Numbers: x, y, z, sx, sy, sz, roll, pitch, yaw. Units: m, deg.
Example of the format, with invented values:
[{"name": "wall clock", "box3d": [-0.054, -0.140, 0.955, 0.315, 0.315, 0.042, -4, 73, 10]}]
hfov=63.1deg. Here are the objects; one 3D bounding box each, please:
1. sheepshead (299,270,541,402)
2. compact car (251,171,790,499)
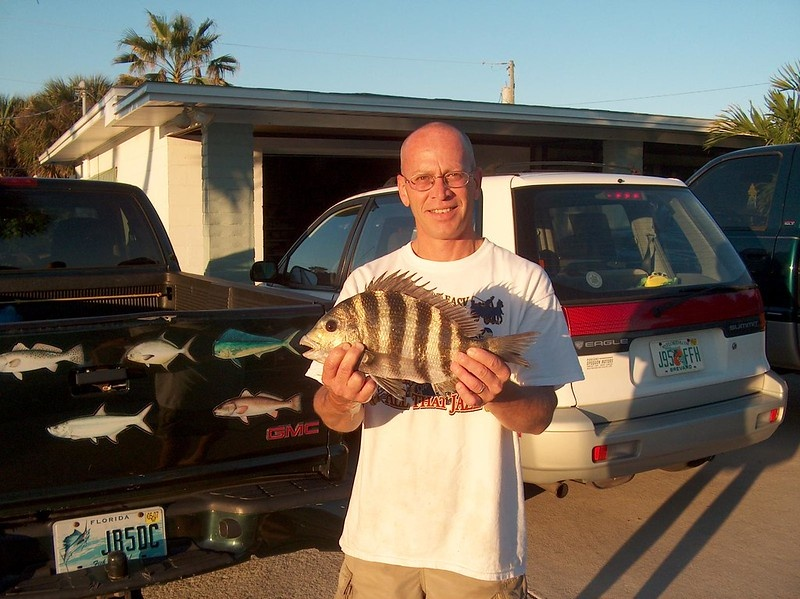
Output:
[{"name": "sheepshead", "box3d": [0.059, 0.130, 1.946, 0.695, 0.327, 0.218, 6, -1, -3]}, {"name": "compact car", "box3d": [0.664, -0.131, 4.819, 1.894, 1.421, 3.321, -4, 15, -37]}]
